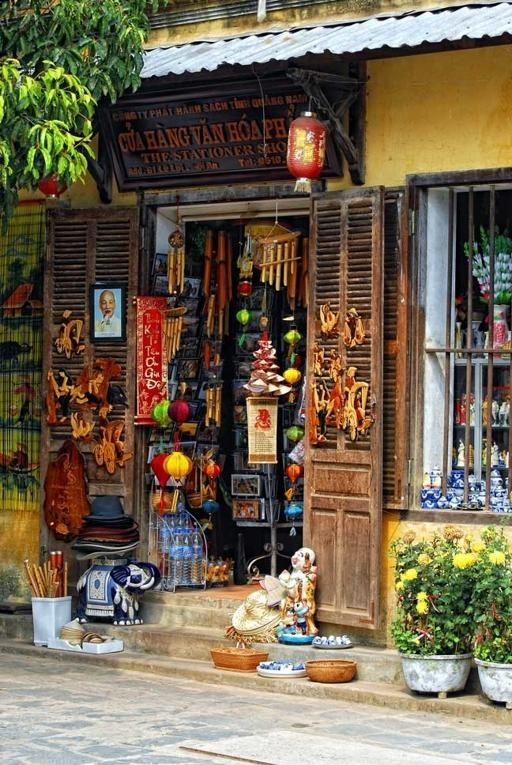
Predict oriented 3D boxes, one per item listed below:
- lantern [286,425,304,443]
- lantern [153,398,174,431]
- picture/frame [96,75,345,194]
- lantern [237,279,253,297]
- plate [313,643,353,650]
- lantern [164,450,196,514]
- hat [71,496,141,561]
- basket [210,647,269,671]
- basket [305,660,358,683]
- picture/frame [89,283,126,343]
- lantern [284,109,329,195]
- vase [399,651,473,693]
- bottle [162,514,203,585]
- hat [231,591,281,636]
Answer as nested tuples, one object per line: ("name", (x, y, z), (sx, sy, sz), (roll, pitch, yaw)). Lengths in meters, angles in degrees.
("lantern", (0.311, 0.373, 9.468), (0.103, 0.110, 0.126), (0, 5, 2))
("lantern", (-0.691, 0.227, 9.240), (0.164, 0.182, 0.158), (-1, 6, 1))
("picture/frame", (-0.347, -1.727, 8.773), (1.515, 0.735, 0.489), (-1, 3, 36))
("lantern", (-0.079, -0.741, 9.880), (0.105, 0.145, 0.104), (-3, 8, -32))
("plate", (0.478, 1.601, 7.670), (0.246, 0.028, 0.125), (-1, 0, 3))
("lantern", (-0.566, 0.720, 9.155), (0.201, 0.444, 0.172), (-2, 4, -21))
("hat", (-1.074, 1.014, 8.870), (0.463, 0.428, 0.343), (-1, 0, 0))
("basket", (-0.113, 1.698, 7.754), (0.247, 0.082, 0.158), (-6, -9, 44))
("basket", (0.459, 1.700, 7.431), (0.306, 0.099, 0.291), (-1, 0, 5))
("picture/frame", (-1.094, -0.522, 9.312), (0.437, 0.633, 0.027), (0, 1, 28))
("lantern", (0.336, -1.454, 7.936), (0.250, 0.379, 0.589), (-1, 0, 4))
("vase", (0.976, 1.584, 6.847), (0.400, 0.234, 0.346), (-2, 0, 29))
("bottle", (-0.533, 1.242, 9.300), (0.275, 0.554, 0.235), (2, 3, 35))
("hat", (-0.015, 1.486, 8.102), (0.310, 0.262, 0.279), (-2, 6, -24))
